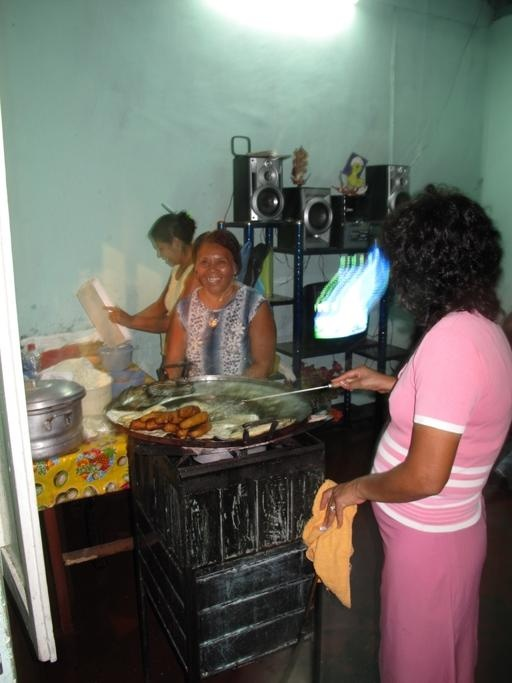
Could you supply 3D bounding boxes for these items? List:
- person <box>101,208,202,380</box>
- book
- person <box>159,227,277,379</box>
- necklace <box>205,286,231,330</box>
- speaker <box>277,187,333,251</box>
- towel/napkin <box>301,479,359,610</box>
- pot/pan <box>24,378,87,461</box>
[{"bbox_3d":[-0.734,-0.413,3.335,0.751,1.228,0.439,-12,31,-26],"label":"person"},{"bbox_3d":[-0.755,-0.157,3.051,0.348,0.450,0.230,-10,15,-38],"label":"book"},{"bbox_3d":[-0.182,-0.108,2.717,0.366,0.810,0.401,0,6,9],"label":"person"},{"bbox_3d":[-0.189,-0.150,2.695,0.062,0.157,0.115,18,11,-29],"label":"necklace"},{"bbox_3d":[0.268,-0.775,3.528,0.331,0.423,0.290,-5,17,-32],"label":"speaker"},{"bbox_3d":[0.185,0.508,1.437,0.155,0.298,0.163,0,15,-16],"label":"towel/napkin"},{"bbox_3d":[-0.640,0.250,1.827,0.172,0.241,0.245,-4,8,-4],"label":"pot/pan"}]
